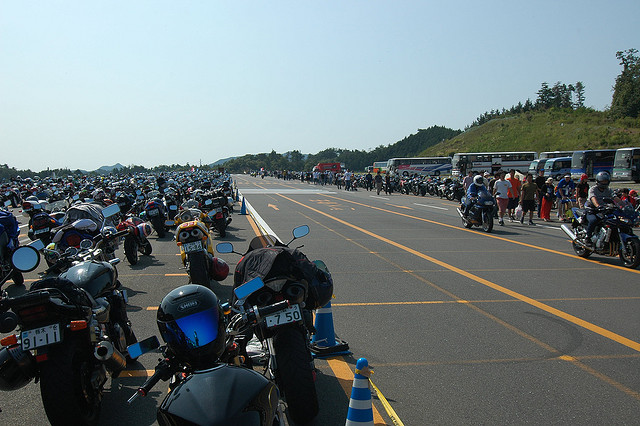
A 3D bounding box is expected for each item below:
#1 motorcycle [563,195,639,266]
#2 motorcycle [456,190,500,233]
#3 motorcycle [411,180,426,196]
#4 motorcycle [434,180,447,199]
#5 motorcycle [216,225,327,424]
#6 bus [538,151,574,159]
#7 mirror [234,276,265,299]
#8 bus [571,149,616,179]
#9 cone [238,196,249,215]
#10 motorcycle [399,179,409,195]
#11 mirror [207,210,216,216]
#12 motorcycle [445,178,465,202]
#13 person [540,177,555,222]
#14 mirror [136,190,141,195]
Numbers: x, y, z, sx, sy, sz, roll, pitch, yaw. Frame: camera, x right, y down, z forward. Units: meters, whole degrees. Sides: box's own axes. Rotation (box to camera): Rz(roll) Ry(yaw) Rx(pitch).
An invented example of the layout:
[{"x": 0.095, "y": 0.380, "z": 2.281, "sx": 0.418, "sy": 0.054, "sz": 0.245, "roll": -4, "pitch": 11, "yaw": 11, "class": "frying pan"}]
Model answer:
[{"x": 7.611, "y": 0.545, "z": 11.576, "sx": 0.643, "sy": 1.451, "sz": 2.034, "roll": -3, "pitch": 8, "yaw": -16, "class": "motorcycle"}, {"x": 6.337, "y": -0.138, "z": 17.344, "sx": 0.816, "sy": 1.588, "sz": 1.787, "roll": -3, "pitch": 8, "yaw": -14, "class": "motorcycle"}, {"x": 9.070, "y": -2.336, "z": 39.877, "sx": 0.580, "sy": 1.360, "sz": 1.636, "roll": -3, "pitch": 8, "yaw": -20, "class": "motorcycle"}, {"x": 10.017, "y": -1.927, "z": 36.150, "sx": 0.530, "sy": 1.249, "sz": 3.577, "roll": 0, "pitch": 8, "yaw": 10, "class": "motorcycle"}, {"x": -0.384, "y": 1.289, "z": 5.084, "sx": 0.985, "sy": 1.746, "sz": 2.713, "roll": -1, "pitch": 4, "yaw": -5, "class": "motorcycle"}, {"x": 27.590, "y": -6.506, "z": 50.989, "sx": 1.292, "sy": 1.178, "sz": 3.979, "roll": -13, "pitch": 12, "yaw": -39, "class": "bus"}, {"x": -0.731, "y": 0.782, "z": 4.552, "sx": 0.319, "sy": 0.175, "sz": 0.033, "roll": -40, "pitch": -1, "yaw": -33, "class": "mirror"}, {"x": 29.199, "y": -5.126, "z": 46.432, "sx": 7.158, "sy": 3.086, "sz": 2.220, "roll": -5, "pitch": 8, "yaw": -33, "class": "bus"}, {"x": -4.226, "y": -0.327, "z": 23.766, "sx": 0.721, "sy": 0.824, "sz": 0.731, "roll": -3, "pitch": 8, "yaw": -24, "class": "cone"}, {"x": 8.243, "y": -2.643, "z": 42.654, "sx": 0.549, "sy": 1.424, "sz": 2.927, "roll": 0, "pitch": 8, "yaw": 6, "class": "motorcycle"}, {"x": -3.831, "y": -0.001, "z": 15.384, "sx": 0.182, "sy": 0.056, "sz": 0.182, "roll": -15, "pitch": 23, "yaw": 43, "class": "mirror"}, {"x": 9.770, "y": -1.520, "z": 31.568, "sx": 1.249, "sy": 1.518, "sz": 2.405, "roll": 2, "pitch": 12, "yaw": 7, "class": "motorcycle"}, {"x": 10.299, "y": -0.632, "z": 19.772, "sx": 0.499, "sy": 2.042, "sz": 1.571, "roll": 3, "pitch": 8, "yaw": 27, "class": "person"}, {"x": -7.802, "y": -0.900, "z": 18.706, "sx": 0.183, "sy": 0.169, "sz": 0.264, "roll": -7, "pitch": 10, "yaw": -41, "class": "mirror"}]
